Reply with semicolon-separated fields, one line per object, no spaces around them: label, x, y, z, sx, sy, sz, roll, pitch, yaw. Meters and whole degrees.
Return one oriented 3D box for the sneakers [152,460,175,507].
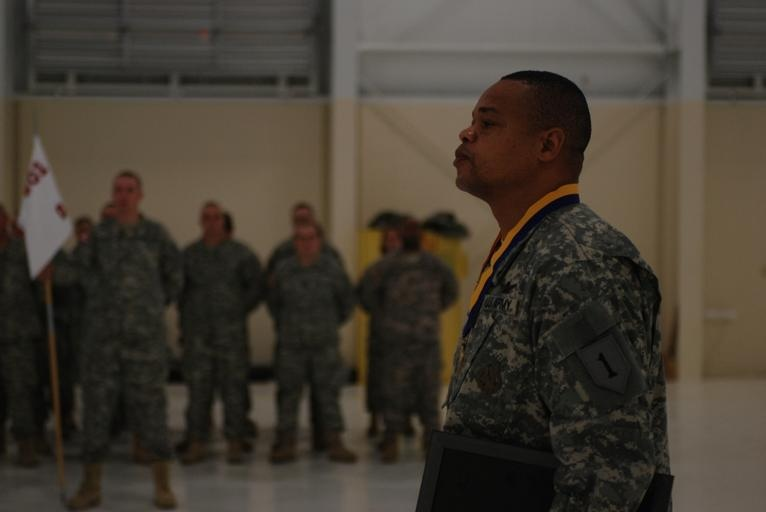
sneakers;-1.364;1.413;9.215;0.139;0.273;0.123;-3;15;-9

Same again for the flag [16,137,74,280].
flag;-2.123;-0.298;9.208;0.253;0.841;0.240;13;19;42

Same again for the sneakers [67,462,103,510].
sneakers;-1.847;1.437;9.217;0.271;0.388;0.181;4;-9;-8
